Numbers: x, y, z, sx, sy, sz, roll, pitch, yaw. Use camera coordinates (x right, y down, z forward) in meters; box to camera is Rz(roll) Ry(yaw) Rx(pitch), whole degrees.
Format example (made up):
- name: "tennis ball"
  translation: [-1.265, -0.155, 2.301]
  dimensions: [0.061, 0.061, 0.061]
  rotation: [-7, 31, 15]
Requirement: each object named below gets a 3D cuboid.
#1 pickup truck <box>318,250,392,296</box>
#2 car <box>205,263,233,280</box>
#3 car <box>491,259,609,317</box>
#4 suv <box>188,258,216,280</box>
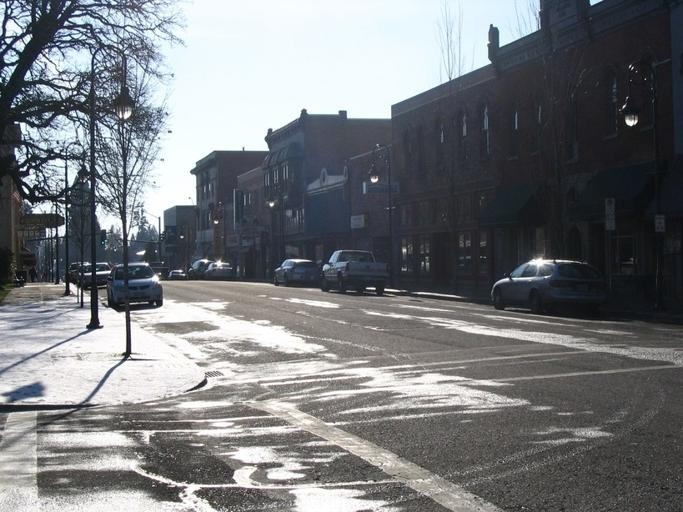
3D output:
- name: "pickup truck"
  translation: [0.755, 0.797, 39.961]
  dimensions: [2.587, 2.265, 4.456]
  rotation: [-1, 1, -20]
- name: "car"
  translation: [-11.436, 1.363, 69.798]
  dimensions: [1.404, 1.362, 2.659]
  rotation: [0, 2, -15]
- name: "car"
  translation: [6.766, 0.964, 24.488]
  dimensions: [1.339, 1.681, 3.669]
  rotation: [-2, 1, -36]
- name: "suv"
  translation: [-14.284, 1.447, 76.524]
  dimensions: [1.970, 1.950, 3.670]
  rotation: [-1, 3, -17]
